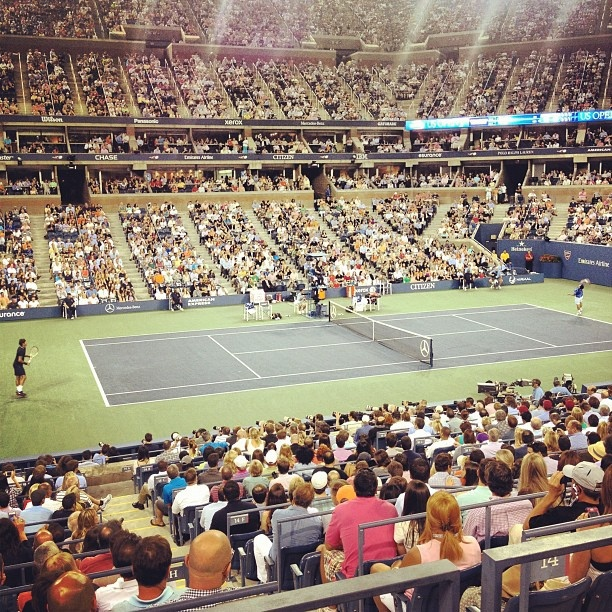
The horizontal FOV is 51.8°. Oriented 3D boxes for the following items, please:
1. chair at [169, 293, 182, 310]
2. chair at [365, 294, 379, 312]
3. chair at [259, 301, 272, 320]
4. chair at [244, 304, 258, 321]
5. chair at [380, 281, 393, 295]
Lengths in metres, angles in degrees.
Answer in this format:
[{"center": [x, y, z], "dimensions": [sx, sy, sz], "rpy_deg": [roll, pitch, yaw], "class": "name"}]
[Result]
[{"center": [-7.776, -0.347, 37.818], "dimensions": [0.675, 1.211, 0.360], "rpy_deg": [-6, 12, -23], "class": "chair"}, {"center": [3.996, -0.311, 37.153], "dimensions": [0.747, 0.981, 0.940], "rpy_deg": [0, 11, 8], "class": "chair"}, {"center": [-2.306, 0.148, 36.062], "dimensions": [0.782, 0.941, 1.518], "rpy_deg": [-2, 11, -3], "class": "chair"}, {"center": [-3.089, 0.311, 35.365], "dimensions": [0.764, 1.385, 0.846], "rpy_deg": [-1, 3, -33], "class": "chair"}, {"center": [5.453, -1.300, 42.834], "dimensions": [0.679, 0.993, 0.939], "rpy_deg": [3, 5, 42], "class": "chair"}]
